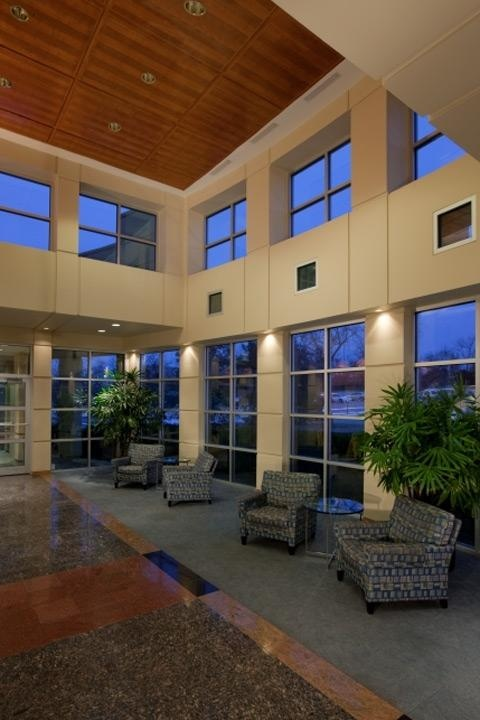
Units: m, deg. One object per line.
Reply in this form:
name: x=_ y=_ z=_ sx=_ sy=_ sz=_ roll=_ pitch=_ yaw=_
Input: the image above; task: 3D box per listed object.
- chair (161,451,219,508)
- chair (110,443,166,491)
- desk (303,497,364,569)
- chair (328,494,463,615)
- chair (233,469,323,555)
chair: x=-0.903 y=2.027 z=8.781 sx=0.822 sy=0.800 sz=0.843 roll=2 pitch=-7 yaw=-11
chair: x=-2.061 y=2.131 z=10.234 sx=0.911 sy=0.750 sz=1.004 roll=0 pitch=-3 yaw=-3
desk: x=1.107 y=1.959 z=6.034 sx=0.735 sy=0.739 sz=0.791 roll=4 pitch=7 yaw=34
chair: x=1.451 y=1.791 z=4.746 sx=0.893 sy=0.825 sz=0.900 roll=1 pitch=-3 yaw=-10
chair: x=0.491 y=1.872 z=6.315 sx=0.965 sy=0.808 sz=1.026 roll=-1 pitch=-3 yaw=17
